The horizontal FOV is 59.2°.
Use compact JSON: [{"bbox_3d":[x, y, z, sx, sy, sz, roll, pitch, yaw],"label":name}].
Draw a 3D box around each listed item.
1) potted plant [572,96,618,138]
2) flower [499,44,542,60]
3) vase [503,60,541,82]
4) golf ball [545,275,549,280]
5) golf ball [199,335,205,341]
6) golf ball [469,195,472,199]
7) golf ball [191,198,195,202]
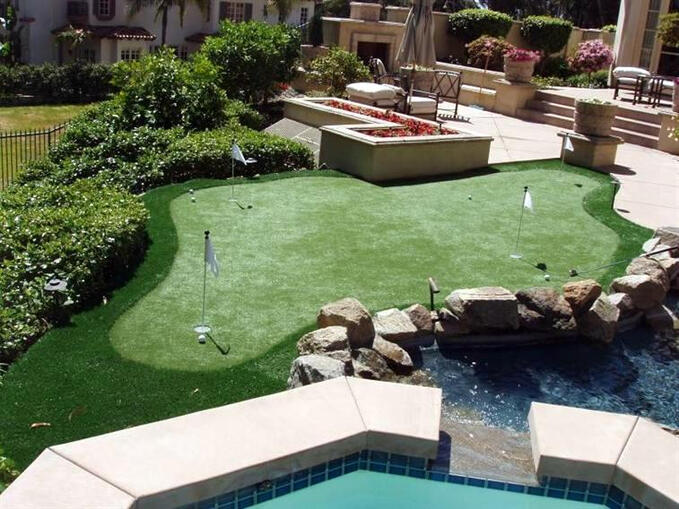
[{"bbox_3d":[5.829,-3.087,13.684,0.982,0.710,0.992,16,21,25],"label":"potted plant"},{"bbox_3d":[5.802,-6.337,19.064,1.081,0.374,0.790,16,22,31],"label":"flower"},{"bbox_3d":[5.765,-5.903,19.326,0.694,0.427,0.671,-20,34,-39],"label":"vase"},{"bbox_3d":[2.791,0.313,8.027,0.057,0.039,0.058,-12,28,6],"label":"golf ball"},{"bbox_3d":[-1.451,0.877,6.221,0.056,0.050,0.057,3,18,-1],"label":"golf ball"},{"bbox_3d":[2.453,-1.073,11.213,0.053,0.023,0.053,-5,39,4],"label":"golf ball"},{"bbox_3d":[-2.391,-0.887,9.741,0.061,0.055,0.059,4,26,-2],"label":"golf ball"}]
